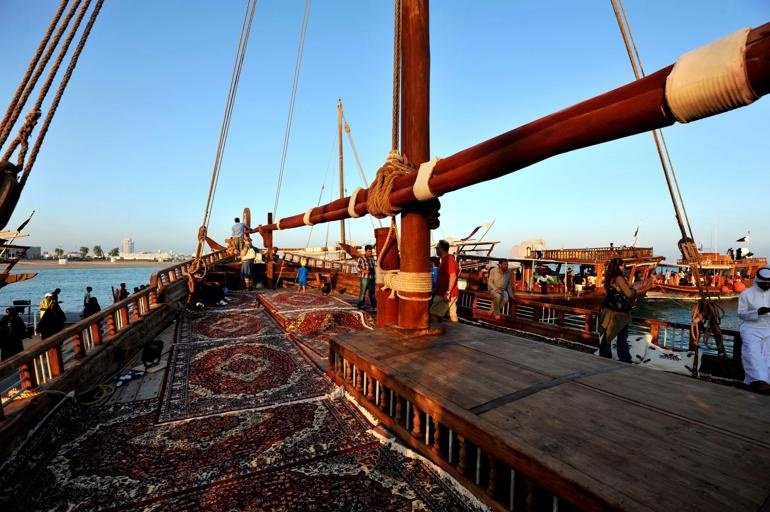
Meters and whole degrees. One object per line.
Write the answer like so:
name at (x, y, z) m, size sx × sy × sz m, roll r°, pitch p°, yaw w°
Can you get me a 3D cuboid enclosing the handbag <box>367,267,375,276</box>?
handbag at (-0.383, 0.438, 10.985) m, size 0.234 × 0.085 × 0.306 m, roll 17°, pitch -17°, yaw -23°
